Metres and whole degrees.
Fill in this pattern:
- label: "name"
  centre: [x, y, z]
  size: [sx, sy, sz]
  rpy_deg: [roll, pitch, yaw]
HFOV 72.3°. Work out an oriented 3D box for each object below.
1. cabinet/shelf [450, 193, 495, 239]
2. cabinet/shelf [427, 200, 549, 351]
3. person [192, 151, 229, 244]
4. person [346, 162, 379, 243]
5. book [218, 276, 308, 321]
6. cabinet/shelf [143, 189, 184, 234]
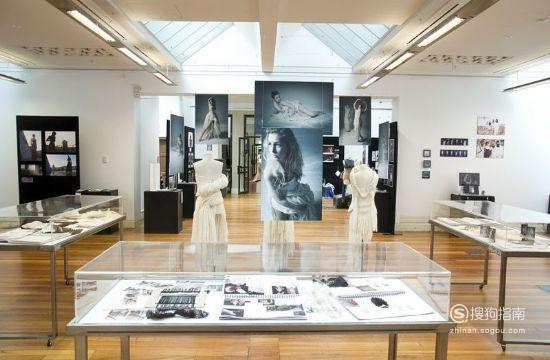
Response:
- label: "cabinet/shelf"
  centre: [5.397, 0.914, 10.116]
  size: [1.104, 0.733, 0.613]
  rpy_deg: [-1, 1, 4]
- label: "cabinet/shelf"
  centre: [3.709, 1.665, 6.455]
  size: [0.835, 1.283, 2.145]
  rpy_deg: [0, 4, -2]
- label: "person"
  centre: [-1.266, 0.370, 7.292]
  size: [0.679, 1.755, 0.571]
  rpy_deg: [0, 4, -8]
- label: "person"
  centre: [1.781, 0.436, 7.606]
  size: [0.549, 1.648, 0.451]
  rpy_deg: [1, 4, 11]
- label: "book"
  centre: [-0.143, 1.440, 4.629]
  size: [1.018, 0.421, 0.296]
  rpy_deg: [0, 4, 1]
- label: "cabinet/shelf"
  centre: [-3.106, 0.788, 10.316]
  size: [1.451, 1.337, 1.023]
  rpy_deg: [1, 0, -27]
